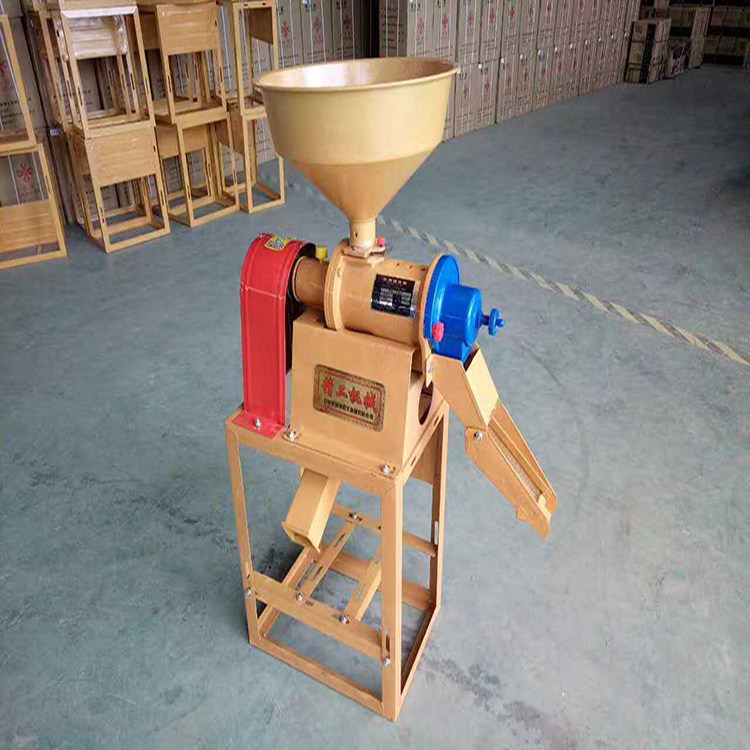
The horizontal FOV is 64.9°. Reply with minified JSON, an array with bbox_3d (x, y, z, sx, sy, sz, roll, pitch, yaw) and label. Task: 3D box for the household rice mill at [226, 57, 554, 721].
[{"bbox_3d":[0.030,0.127,1.906,0.837,1.999,0.619,12,27,15],"label":"household rice mill"}]
